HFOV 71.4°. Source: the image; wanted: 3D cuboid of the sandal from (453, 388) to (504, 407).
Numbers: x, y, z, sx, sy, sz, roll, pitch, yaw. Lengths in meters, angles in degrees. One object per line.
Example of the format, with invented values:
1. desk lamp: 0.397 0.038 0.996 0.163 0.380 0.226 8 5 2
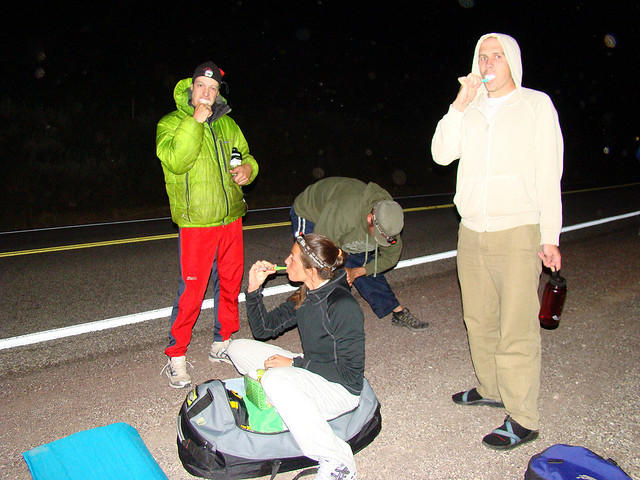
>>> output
1. sandal: 1.453 1.397 4.007 0.361 0.164 0.142 5 -2 18

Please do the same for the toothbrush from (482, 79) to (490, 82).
1. toothbrush: 1.286 -1.248 3.451 0.050 0.021 0.014 1 17 21

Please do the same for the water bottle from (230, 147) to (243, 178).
1. water bottle: -0.824 -0.808 4.335 0.138 0.193 0.066 -17 20 -37

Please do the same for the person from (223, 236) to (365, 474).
1. person: -0.207 0.945 3.577 0.785 1.388 1.432 -3 10 -23

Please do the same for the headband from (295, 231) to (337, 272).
1. headband: -0.088 0.050 3.517 0.074 0.255 0.297 -38 17 11

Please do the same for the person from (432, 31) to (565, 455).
1. person: 1.440 -0.005 3.613 0.678 3.176 0.904 -16 19 -36
